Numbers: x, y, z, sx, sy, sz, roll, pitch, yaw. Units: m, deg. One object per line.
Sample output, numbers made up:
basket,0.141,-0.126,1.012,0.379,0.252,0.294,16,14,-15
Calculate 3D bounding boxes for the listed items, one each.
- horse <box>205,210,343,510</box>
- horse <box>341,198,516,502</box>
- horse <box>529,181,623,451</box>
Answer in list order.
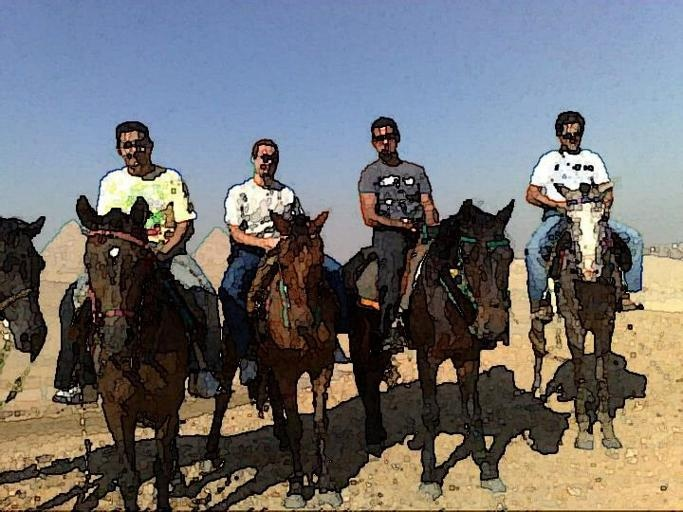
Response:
horse,-0.616,1.515,10.370,1.134,4.321,0.483,-3,12,-7
horse,1.350,1.335,10.956,2.290,4.303,0.998,1,12,13
horse,3.938,0.979,11.876,1.177,4.277,0.612,1,12,15
